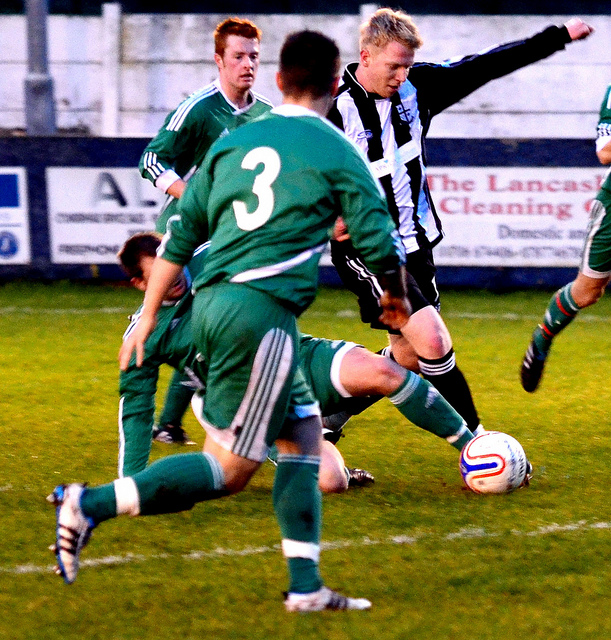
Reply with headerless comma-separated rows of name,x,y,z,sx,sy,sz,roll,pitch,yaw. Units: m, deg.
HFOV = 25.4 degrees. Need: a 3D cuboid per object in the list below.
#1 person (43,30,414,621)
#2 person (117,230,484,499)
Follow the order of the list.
person,-0.221,-0.002,4.722,1.301,1.950,0.753,-3,12,-9
person,-0.013,0.142,5.470,1.572,0.987,0.859,6,39,21
